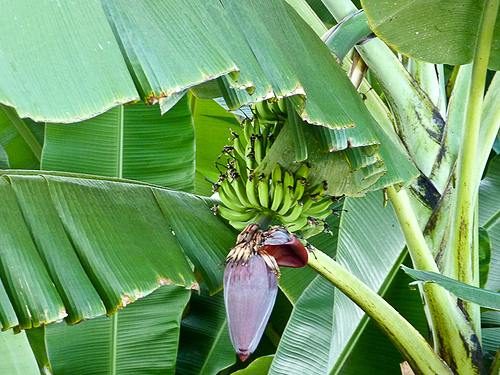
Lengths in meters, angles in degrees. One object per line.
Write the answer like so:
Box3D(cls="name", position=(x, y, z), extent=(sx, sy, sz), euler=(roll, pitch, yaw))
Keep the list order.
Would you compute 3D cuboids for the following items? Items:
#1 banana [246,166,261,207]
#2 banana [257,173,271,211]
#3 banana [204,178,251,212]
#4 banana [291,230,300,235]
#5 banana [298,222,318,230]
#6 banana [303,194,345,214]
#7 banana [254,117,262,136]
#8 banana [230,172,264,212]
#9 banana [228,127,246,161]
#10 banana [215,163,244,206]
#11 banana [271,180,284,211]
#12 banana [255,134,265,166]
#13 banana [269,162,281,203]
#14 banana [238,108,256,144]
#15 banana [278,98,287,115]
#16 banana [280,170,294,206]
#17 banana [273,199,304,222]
Box3D(cls="banana", position=(0.011, -0.013, 2.290), extent=(0.050, 0.151, 0.041), euler=(23, -44, -30))
Box3D(cls="banana", position=(0.047, 0.011, 2.257), extent=(0.026, 0.112, 0.037), euler=(-15, 22, -24))
Box3D(cls="banana", position=(-0.071, 0.024, 2.397), extent=(0.023, 0.109, 0.046), euler=(-41, -6, -29))
Box3D(cls="banana", position=(0.149, 0.142, 2.321), extent=(0.038, 0.011, 0.016), euler=(-14, 5, 45))
Box3D(cls="banana", position=(0.188, 0.122, 2.290), extent=(0.051, 0.023, 0.014), euler=(-18, -29, -26))
Box3D(cls="banana", position=(0.236, 0.051, 2.349), extent=(0.094, 0.022, 0.042), euler=(-27, -49, 21))
Box3D(cls="banana", position=(0.025, -0.195, 2.313), extent=(0.019, 0.063, 0.014), euler=(-10, -10, 28))
Box3D(cls="banana", position=(-0.032, 0.015, 2.308), extent=(0.047, 0.137, 0.035), euler=(2, 38, 31))
Box3D(cls="banana", position=(-0.045, -0.147, 2.377), extent=(0.033, 0.099, 0.016), euler=(-34, -28, 30))
Box3D(cls="banana", position=(-0.068, 0.002, 2.341), extent=(0.050, 0.178, 0.050), euler=(-29, 7, -8))
Box3D(cls="banana", position=(0.085, 0.022, 2.231), extent=(0.022, 0.109, 0.035), euler=(6, 11, -19))
Box3D(cls="banana", position=(0.035, -0.121, 2.289), extent=(0.021, 0.105, 0.038), euler=(1, -15, 6))
Box3D(cls="banana", position=(0.079, -0.018, 2.267), extent=(0.022, 0.128, 0.020), euler=(14, -6, -30))
Box3D(cls="banana", position=(-0.009, -0.204, 2.284), extent=(0.033, 0.092, 0.022), euler=(-7, -4, 26))
Box3D(cls="banana", position=(0.104, -0.253, 2.252), extent=(0.013, 0.056, 0.019), euler=(-6, 0, 10))
Box3D(cls="banana", position=(0.118, -0.001, 2.244), extent=(0.018, 0.102, 0.032), euler=(11, -6, 17))
Box3D(cls="banana", position=(0.120, 0.070, 2.252), extent=(0.035, 0.050, 0.125), euler=(0, -22, -22))
